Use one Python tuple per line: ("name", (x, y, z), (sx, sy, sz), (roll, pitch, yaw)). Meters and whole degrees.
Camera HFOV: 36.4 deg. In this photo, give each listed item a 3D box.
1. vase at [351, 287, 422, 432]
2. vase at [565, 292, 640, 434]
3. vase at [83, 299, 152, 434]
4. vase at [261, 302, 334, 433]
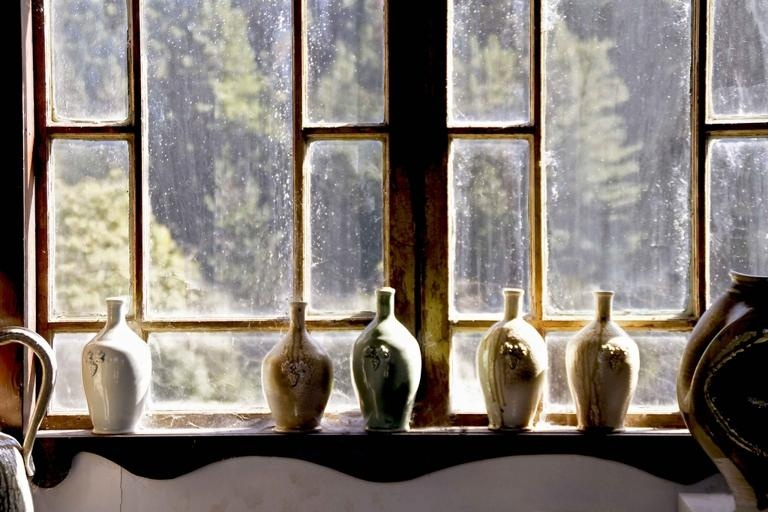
("vase", (0.011, 0.395, 4.403), (0.264, 0.534, 0.167), (0, -3, 2))
("vase", (0.818, 0.397, 4.382), (0.267, 0.523, 0.125), (0, -3, 6))
("vase", (-1.016, 0.426, 4.466), (0.287, 0.488, 0.291), (0, 0, -39))
("vase", (-0.329, 0.420, 4.408), (0.273, 0.488, 0.127), (0, -3, -2))
